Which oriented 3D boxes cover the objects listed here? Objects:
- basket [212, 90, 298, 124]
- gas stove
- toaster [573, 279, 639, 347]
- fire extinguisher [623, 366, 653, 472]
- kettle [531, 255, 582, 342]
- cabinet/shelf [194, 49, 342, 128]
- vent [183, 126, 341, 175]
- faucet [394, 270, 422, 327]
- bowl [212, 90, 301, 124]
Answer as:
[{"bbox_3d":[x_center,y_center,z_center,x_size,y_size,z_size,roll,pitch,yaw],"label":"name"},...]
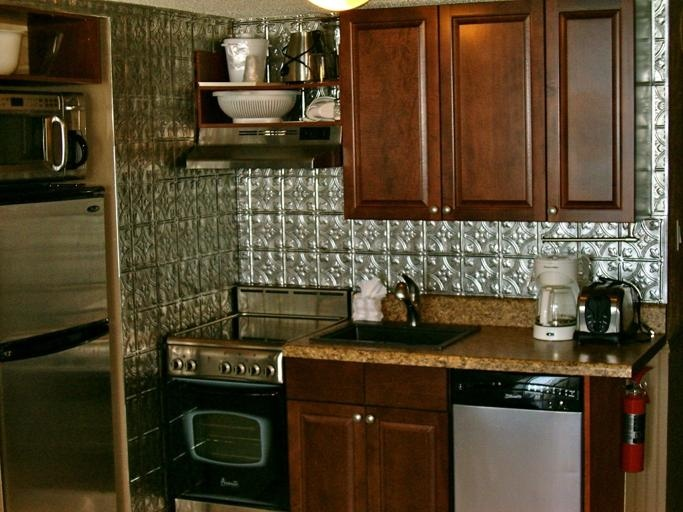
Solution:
[{"bbox_3d":[-0.442,-0.772,3.646,0.432,0.170,0.130,0,7,-7],"label":"basket"},{"bbox_3d":[-0.443,0.349,3.692,0.646,0.156,0.575,0,2,17],"label":"gas stove"},{"bbox_3d":[1.209,0.243,3.161,0.205,0.242,0.322,0,1,36],"label":"toaster"},{"bbox_3d":[1.336,0.730,3.216,0.101,0.516,0.327,3,7,24],"label":"fire extinguisher"},{"bbox_3d":[0.965,0.182,3.194,0.184,0.392,0.185,5,11,31],"label":"kettle"},{"bbox_3d":[-0.476,-0.632,3.751,0.816,0.460,0.416,0,1,11],"label":"cabinet/shelf"},{"bbox_3d":[-0.400,-0.550,3.533,0.781,0.215,0.223,3,7,15],"label":"vent"},{"bbox_3d":[0.340,0.206,3.608,0.122,0.261,0.274,1,7,6],"label":"faucet"},{"bbox_3d":[-0.436,-0.756,3.663,0.381,0.176,0.311,4,11,24],"label":"bowl"}]
